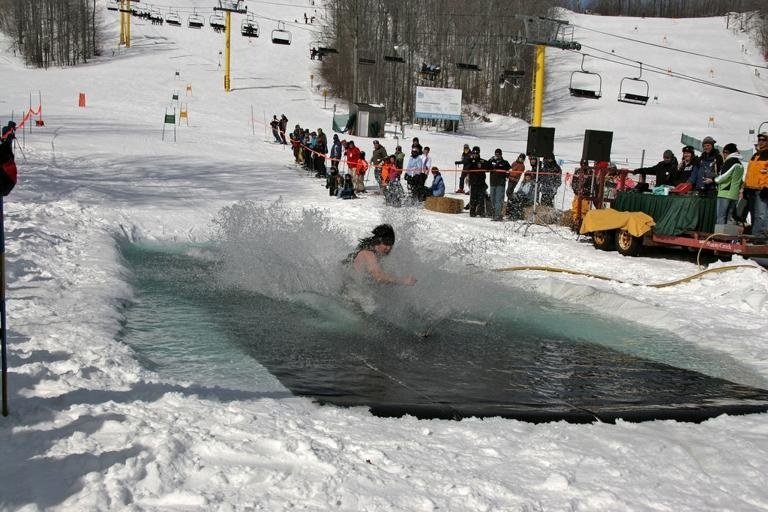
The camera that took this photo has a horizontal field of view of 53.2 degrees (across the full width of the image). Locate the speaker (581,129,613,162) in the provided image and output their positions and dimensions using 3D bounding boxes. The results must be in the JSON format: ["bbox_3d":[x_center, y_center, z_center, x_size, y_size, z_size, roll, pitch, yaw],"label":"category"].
[{"bbox_3d":[6.332,-3.159,22.091,0.896,0.768,0.665,15,22,40],"label":"speaker"}]

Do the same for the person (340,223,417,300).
[{"bbox_3d":[-0.180,-0.037,14.945,1.467,1.003,1.832,13,-27,-7],"label":"person"}]

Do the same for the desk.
[{"bbox_3d":[7.216,-1.232,19.384,1.978,0.680,2.569,-14,18,-36],"label":"desk"}]
